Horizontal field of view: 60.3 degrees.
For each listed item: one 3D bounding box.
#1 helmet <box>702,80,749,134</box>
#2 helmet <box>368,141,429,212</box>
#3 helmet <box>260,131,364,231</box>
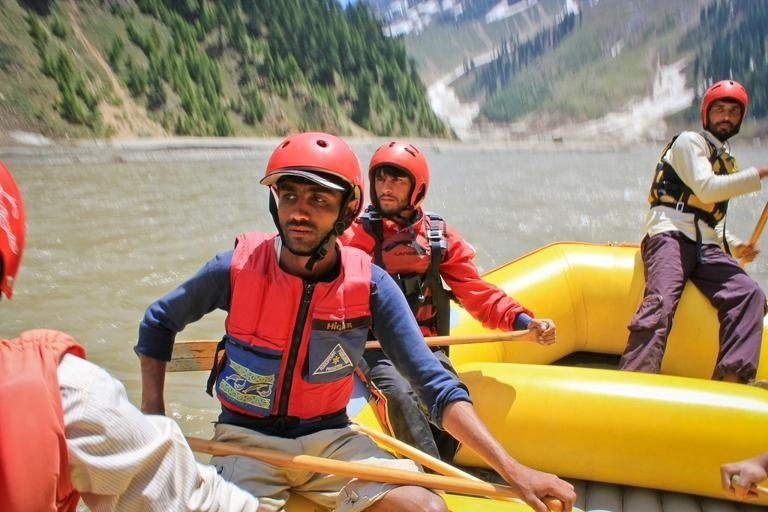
[{"bbox_3d":[2.417,-1.125,4.737,0.281,0.407,0.367,12,18,14],"label":"helmet"},{"bbox_3d":[0.121,-0.566,4.476,0.375,0.459,0.466,12,11,36],"label":"helmet"},{"bbox_3d":[-0.327,-0.371,3.236,0.465,0.455,0.573,5,6,5],"label":"helmet"}]
